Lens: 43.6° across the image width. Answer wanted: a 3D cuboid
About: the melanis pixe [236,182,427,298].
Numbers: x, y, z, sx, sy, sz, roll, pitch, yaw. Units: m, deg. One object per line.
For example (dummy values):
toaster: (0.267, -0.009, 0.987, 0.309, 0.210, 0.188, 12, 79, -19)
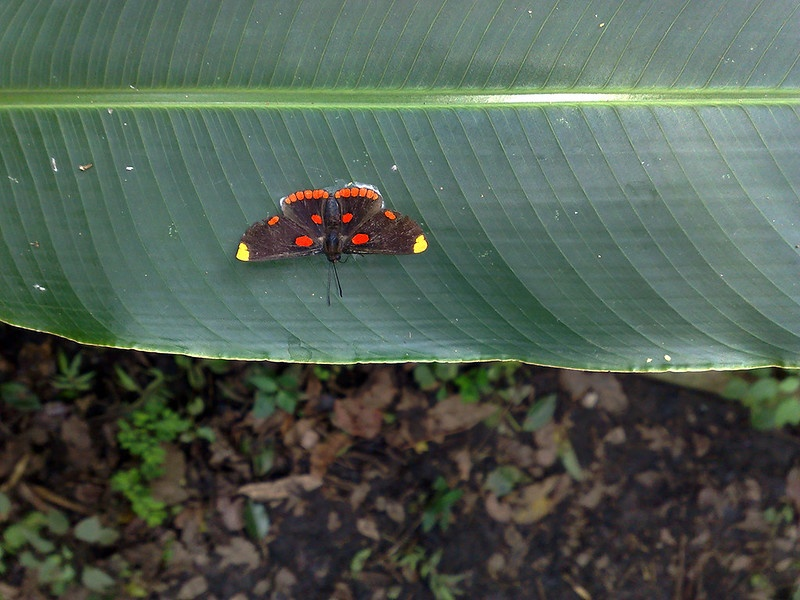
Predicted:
melanis pixe: (-0.241, -0.218, 3.619, 0.567, 0.153, 0.361, -3, 85, 2)
